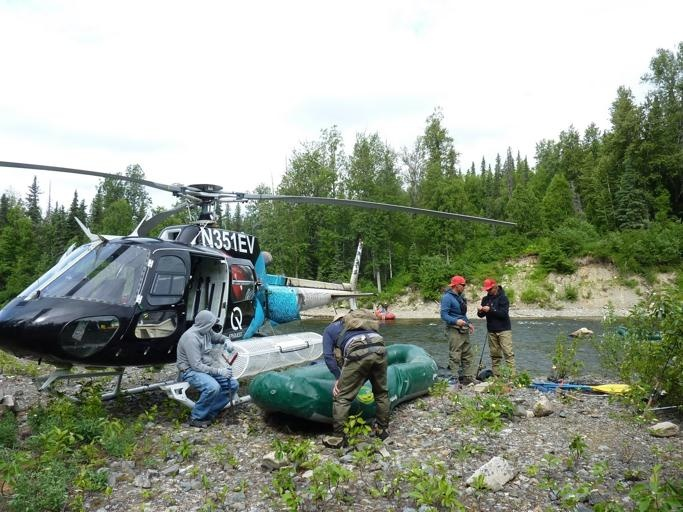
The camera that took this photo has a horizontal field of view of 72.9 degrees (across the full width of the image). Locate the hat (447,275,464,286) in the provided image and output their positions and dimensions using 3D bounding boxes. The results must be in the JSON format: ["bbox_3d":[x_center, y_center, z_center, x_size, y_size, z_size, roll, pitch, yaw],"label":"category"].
[{"bbox_3d":[2.533,0.505,9.773,0.457,0.236,0.303,2,0,-7],"label":"hat"}]

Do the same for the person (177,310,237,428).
[{"bbox_3d":[-2.212,1.822,7.865,0.745,1.803,0.912,1,-1,35],"label":"person"}]

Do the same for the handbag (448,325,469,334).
[{"bbox_3d":[2.488,1.513,9.657,0.271,0.093,0.218,1,0,-24],"label":"handbag"}]

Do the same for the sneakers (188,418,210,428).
[{"bbox_3d":[-2.311,2.664,7.510,0.366,0.149,0.129,0,0,12],"label":"sneakers"}]

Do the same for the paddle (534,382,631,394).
[{"bbox_3d":[4.491,2.465,8.688,1.551,0.107,0.482,-1,10,18],"label":"paddle"}]

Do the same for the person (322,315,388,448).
[{"bbox_3d":[0.224,1.736,6.716,0.995,1.582,0.651,1,-1,-3],"label":"person"}]

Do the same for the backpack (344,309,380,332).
[{"bbox_3d":[0.284,0.946,6.871,0.490,0.250,0.581,1,-3,1],"label":"backpack"}]
